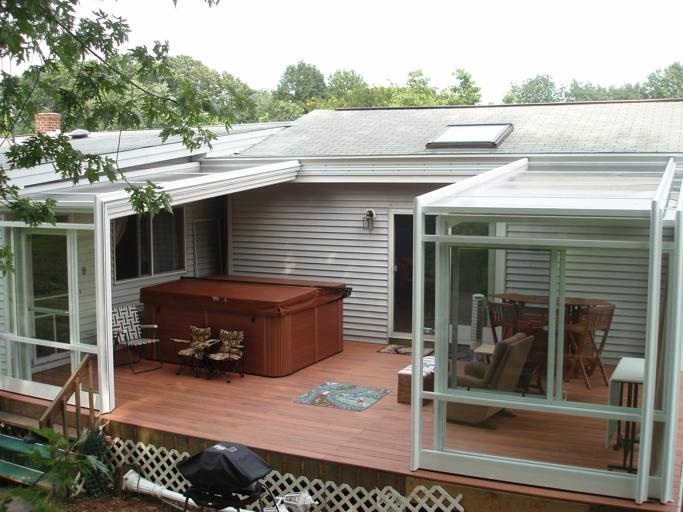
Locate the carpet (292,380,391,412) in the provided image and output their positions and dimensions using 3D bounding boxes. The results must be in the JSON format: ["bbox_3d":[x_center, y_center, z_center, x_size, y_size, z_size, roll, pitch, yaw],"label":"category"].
[{"bbox_3d":[0.016,2.284,10.084,1.226,0.030,1.167,4,8,25],"label":"carpet"}]

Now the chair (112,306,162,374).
[{"bbox_3d":[-3.913,1.530,11.708,0.883,1.248,0.773,7,8,39],"label":"chair"}]

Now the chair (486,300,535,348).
[{"bbox_3d":[2.198,0.734,7.249,0.550,0.716,0.486,-13,16,-41],"label":"chair"}]

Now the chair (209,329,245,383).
[{"bbox_3d":[-2.069,1.758,11.025,0.646,0.832,0.774,-2,9,-12],"label":"chair"}]

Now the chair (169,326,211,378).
[{"bbox_3d":[-2.754,1.676,11.266,0.675,0.905,0.641,6,7,39],"label":"chair"}]

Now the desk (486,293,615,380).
[{"bbox_3d":[2.439,0.960,7.209,1.424,0.828,0.614,1,-1,38],"label":"desk"}]
